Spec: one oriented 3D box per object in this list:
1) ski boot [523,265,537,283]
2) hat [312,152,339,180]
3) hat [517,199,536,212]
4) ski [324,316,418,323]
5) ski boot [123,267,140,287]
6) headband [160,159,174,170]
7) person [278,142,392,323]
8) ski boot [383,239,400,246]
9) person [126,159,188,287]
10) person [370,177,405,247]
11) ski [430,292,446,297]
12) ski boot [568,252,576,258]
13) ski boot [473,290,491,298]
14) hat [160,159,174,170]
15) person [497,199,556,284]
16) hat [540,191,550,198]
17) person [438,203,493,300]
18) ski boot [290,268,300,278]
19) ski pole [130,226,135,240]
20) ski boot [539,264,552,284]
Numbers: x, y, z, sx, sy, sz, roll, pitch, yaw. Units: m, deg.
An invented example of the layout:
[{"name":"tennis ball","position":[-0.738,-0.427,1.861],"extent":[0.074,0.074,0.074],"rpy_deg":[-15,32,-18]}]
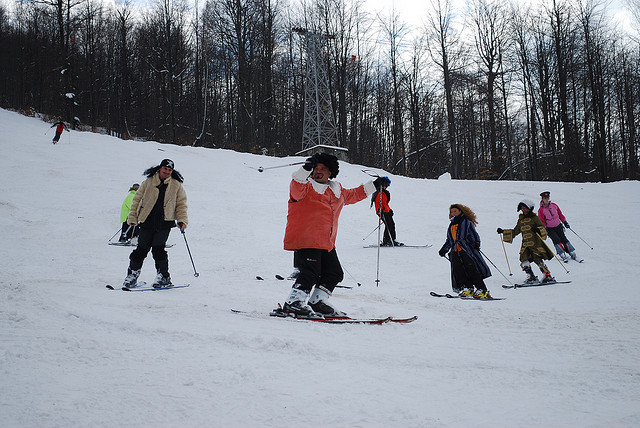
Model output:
[{"name":"ski boot","position":[4.829,1.371,12.559],"extent":[0.296,0.375,0.434],"rpy_deg":[2,1,13]},{"name":"hat","position":[0.122,-0.869,9.290],"extent":[0.393,0.183,0.425],"rpy_deg":[17,-26,39]},{"name":"hat","position":[4.958,-0.248,13.166],"extent":[0.328,0.288,0.617],"rpy_deg":[2,1,24]},{"name":"ski","position":[0.812,1.776,9.197],"extent":[1.116,0.096,0.130],"rpy_deg":[0,0,1]},{"name":"ski boot","position":[-3.610,1.175,10.337],"extent":[0.203,0.267,0.354],"rpy_deg":[2,1,25]},{"name":"headband","position":[-2.980,-1.003,10.664],"extent":[0.253,0.149,0.298],"rpy_deg":[2,1,-21]},{"name":"person","position":[0.096,0.354,9.256],"extent":[1.425,2.552,0.555],"rpy_deg":[2,1,-30]},{"name":"ski boot","position":[2.071,0.799,15.776],"extent":[0.464,0.202,0.146],"rpy_deg":[-1,40,6]},{"name":"person","position":[-3.119,0.154,10.558],"extent":[1.181,2.444,0.764],"rpy_deg":[4,0,-7]},{"name":"person","position":[1.997,0.022,16.321],"extent":[0.797,1.415,1.829],"rpy_deg":[-15,-38,4]},{"name":"ski","position":[2.378,1.641,11.249],"extent":[0.243,0.072,0.334],"rpy_deg":[2,1,4]},{"name":"ski boot","position":[6.730,1.075,14.579],"extent":[0.121,0.064,0.174],"rpy_deg":[-31,-36,17]},{"name":"ski boot","position":[3.311,1.628,11.166],"extent":[0.211,0.084,0.166],"rpy_deg":[-5,25,-16]},{"name":"hat","position":[-2.958,-1.019,10.610],"extent":[0.202,0.128,0.203],"rpy_deg":[10,16,-28]},{"name":"person","position":[4.908,0.593,12.762],"extent":[1.145,1.998,0.791],"rpy_deg":[2,1,29]},{"name":"hat","position":[6.148,-0.562,14.956],"extent":[0.186,0.175,0.356],"rpy_deg":[3,1,30]},{"name":"person","position":[3.086,0.730,11.574],"extent":[1.068,1.958,0.696],"rpy_deg":[2,1,31]},{"name":"ski boot","position":[-0.452,1.094,10.073],"extent":[0.162,0.192,0.485],"rpy_deg":[2,-10,13]},{"name":"ski pole","position":[-5.163,0.525,15.135],"extent":[0.057,0.439,0.058],"rpy_deg":[16,5,-32]},{"name":"ski boot","position":[5.141,1.360,12.465],"extent":[0.260,0.419,0.430],"rpy_deg":[2,1,23]}]
